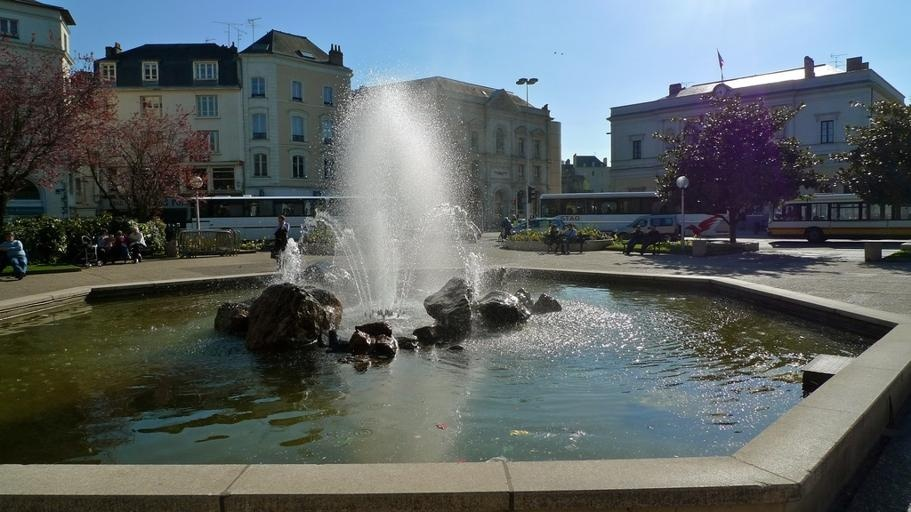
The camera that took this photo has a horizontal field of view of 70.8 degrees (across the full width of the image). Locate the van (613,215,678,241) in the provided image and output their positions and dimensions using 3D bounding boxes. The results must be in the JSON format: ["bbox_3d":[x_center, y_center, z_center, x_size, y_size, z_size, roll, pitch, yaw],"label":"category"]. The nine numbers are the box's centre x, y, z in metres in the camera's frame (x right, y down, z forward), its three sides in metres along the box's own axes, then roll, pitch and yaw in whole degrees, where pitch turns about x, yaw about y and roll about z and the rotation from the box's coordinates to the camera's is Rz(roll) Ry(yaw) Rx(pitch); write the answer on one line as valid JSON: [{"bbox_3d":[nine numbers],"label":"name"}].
[{"bbox_3d":[11.886,-1.677,39.349,4.638,2.027,2.373,1,2,5],"label":"van"}]

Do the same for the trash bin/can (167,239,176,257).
[{"bbox_3d":[-13.708,-0.301,30.682,0.487,0.665,0.511,-7,15,-22],"label":"trash bin/can"}]

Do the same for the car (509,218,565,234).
[{"bbox_3d":[5.572,-2.112,43.856,3.382,1.139,1.874,3,4,10],"label":"car"}]

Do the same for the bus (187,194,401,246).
[{"bbox_3d":[-10.818,-2.769,43.305,15.695,4.038,4.576,-2,3,-18],"label":"bus"}]

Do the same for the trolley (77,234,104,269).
[{"bbox_3d":[-15.697,-0.172,27.417,0.951,1.281,0.807,0,1,-26],"label":"trolley"}]

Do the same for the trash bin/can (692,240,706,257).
[{"bbox_3d":[10.856,-0.302,28.415,0.610,0.649,0.370,4,15,20],"label":"trash bin/can"}]

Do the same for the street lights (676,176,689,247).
[{"bbox_3d":[11.456,-2.214,32.240,0.762,3.445,0.753,-1,5,19],"label":"street lights"}]

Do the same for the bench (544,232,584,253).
[{"bbox_3d":[5.393,-0.649,31.822,1.835,1.016,1.334,1,14,6],"label":"bench"}]

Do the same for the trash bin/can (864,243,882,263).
[{"bbox_3d":[16.213,-0.090,24.788,0.394,0.546,0.762,-2,2,13],"label":"trash bin/can"}]

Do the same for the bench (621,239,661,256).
[{"bbox_3d":[9.238,-0.340,31.226,1.109,0.553,1.534,3,4,39],"label":"bench"}]
